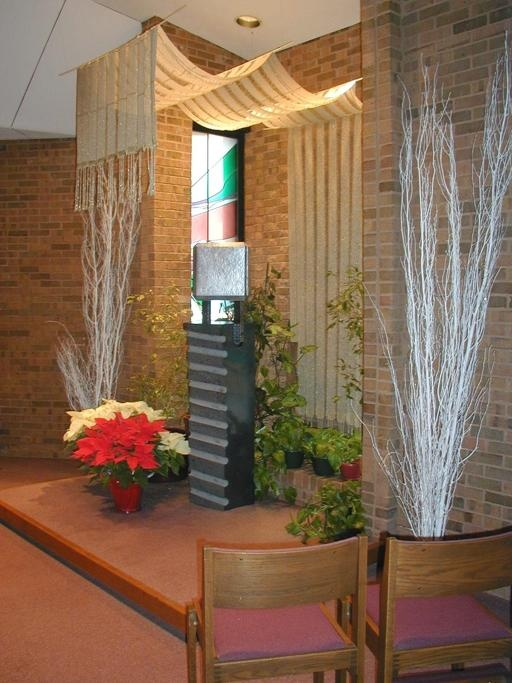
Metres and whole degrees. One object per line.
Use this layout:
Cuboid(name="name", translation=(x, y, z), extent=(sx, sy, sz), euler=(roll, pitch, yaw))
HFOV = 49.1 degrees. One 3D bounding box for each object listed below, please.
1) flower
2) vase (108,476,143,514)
Cuboid(name="flower", translation=(-0.816, 0.560, 3.300), extent=(0.610, 0.380, 0.639), euler=(16, -3, 26))
Cuboid(name="vase", translation=(-0.791, 0.869, 3.237), extent=(0.205, 0.163, 0.203), euler=(-5, -8, 34))
